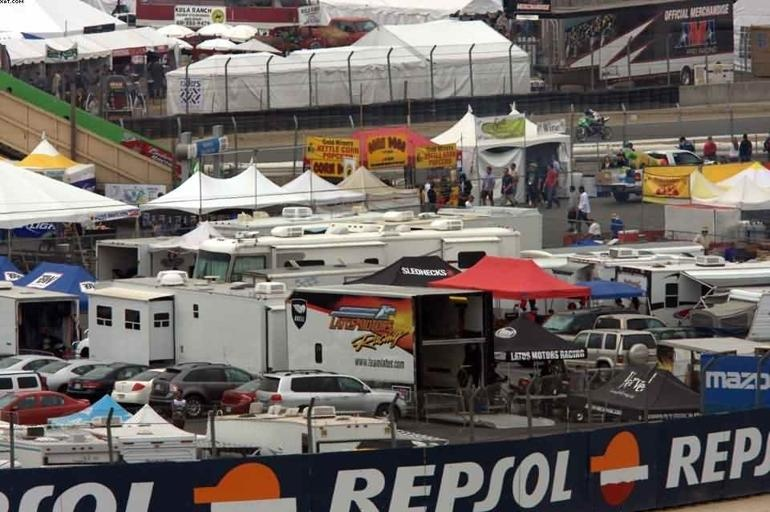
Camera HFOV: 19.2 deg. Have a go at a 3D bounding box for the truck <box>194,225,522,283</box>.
[{"bbox_3d":[-0.754,-0.476,90.872,13.553,1.875,3.515,-4,7,-18],"label":"truck"}]
